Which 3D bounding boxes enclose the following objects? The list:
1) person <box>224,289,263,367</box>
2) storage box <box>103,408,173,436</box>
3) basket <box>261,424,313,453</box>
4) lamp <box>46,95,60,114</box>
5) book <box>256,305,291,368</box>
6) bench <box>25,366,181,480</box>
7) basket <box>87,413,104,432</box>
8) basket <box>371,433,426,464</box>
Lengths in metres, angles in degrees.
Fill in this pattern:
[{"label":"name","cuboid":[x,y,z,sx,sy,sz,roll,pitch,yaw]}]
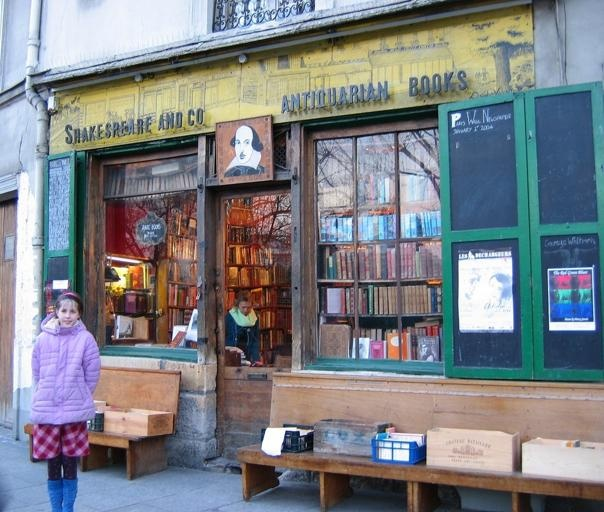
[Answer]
[{"label":"person","cuboid":[-0.706,0.937,7.659,0.406,1.237,0.334,-3,37,-13]},{"label":"storage box","cuboid":[-1.799,1.818,7.065,0.761,0.257,0.388,-4,-6,23]},{"label":"basket","cuboid":[-0.106,1.727,6.068,0.270,0.140,0.283,-8,-13,39]},{"label":"lamp","cuboid":[-3.293,-1.989,8.594,0.198,0.228,0.066,-5,-6,33]},{"label":"book","cuboid":[-0.310,0.923,7.288,0.580,0.739,0.202,-1,-5,40]},{"label":"bench","cuboid":[-2.254,1.826,7.313,1.486,1.207,0.639,0,-11,23]},{"label":"basket","cuboid":[-2.247,1.825,7.208,0.177,0.233,0.195,-2,-6,21]},{"label":"basket","cuboid":[0.855,1.682,5.712,0.483,0.223,0.396,-2,-5,5]}]
